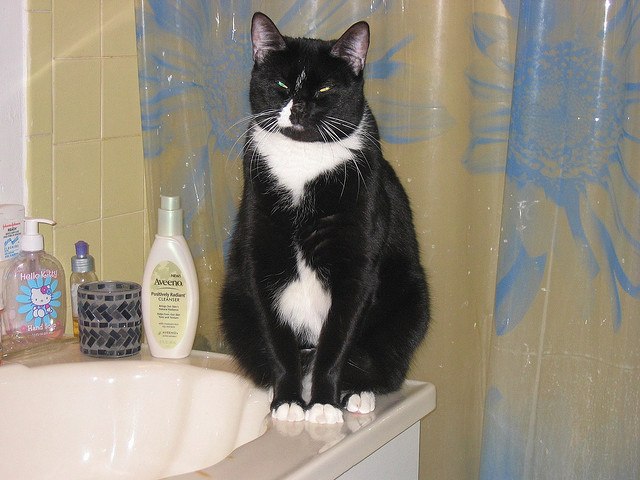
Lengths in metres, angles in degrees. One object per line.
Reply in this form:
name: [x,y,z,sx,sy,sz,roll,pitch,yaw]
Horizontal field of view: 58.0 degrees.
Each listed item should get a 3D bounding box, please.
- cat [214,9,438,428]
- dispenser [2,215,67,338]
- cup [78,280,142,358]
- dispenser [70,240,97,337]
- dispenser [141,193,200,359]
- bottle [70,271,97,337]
cat: [-0.020,-0.053,1.279,0.401,0.798,0.426,8,10,43]
dispenser: [-0.598,0.094,1.220,0.101,0.274,0.089,-8,14,-40]
cup: [-0.432,0.169,1.273,0.128,0.167,0.142,0,5,-7]
dispenser: [-0.519,0.106,1.299,0.049,0.215,0.053,4,14,1]
dispenser: [-0.313,0.077,1.225,0.119,0.361,0.067,3,14,-3]
bottle: [-0.531,0.129,1.294,0.043,0.190,0.045,3,7,0]
